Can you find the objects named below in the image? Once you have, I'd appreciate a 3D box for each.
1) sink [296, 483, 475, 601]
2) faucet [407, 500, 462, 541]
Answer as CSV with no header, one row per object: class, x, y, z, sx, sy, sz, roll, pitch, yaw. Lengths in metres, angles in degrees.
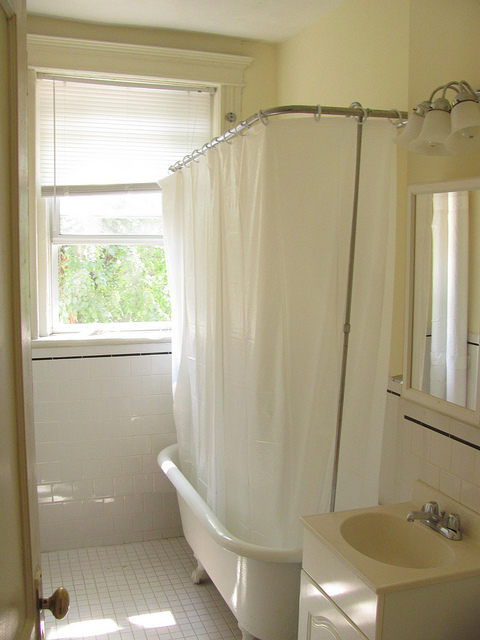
sink,0.427,0.631,1.520,0.234,0.177,0.283,1,6,-22
faucet,0.566,0.595,1.586,0.131,0.080,0.166,-2,2,-17
